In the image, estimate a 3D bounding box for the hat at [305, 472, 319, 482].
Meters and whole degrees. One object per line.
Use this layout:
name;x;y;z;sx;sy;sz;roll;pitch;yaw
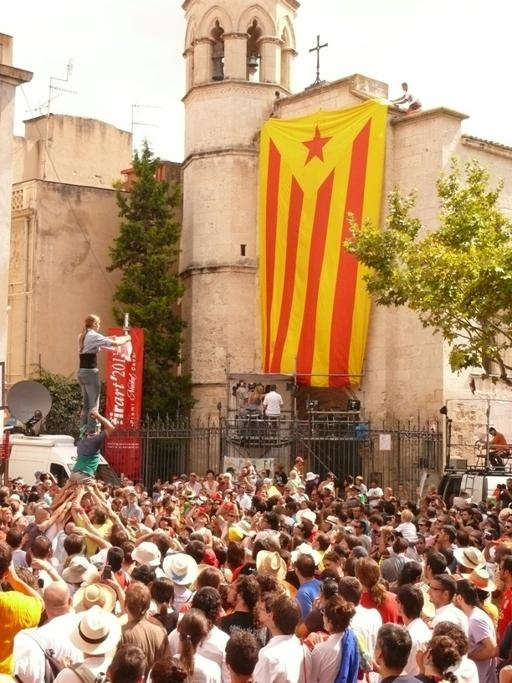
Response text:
hat;1.211;3.011;19.972;0.329;0.135;0.418;-16;-10;1

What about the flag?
flag;1.863;-2.863;27.095;4.233;8.367;0.704;-2;-7;44

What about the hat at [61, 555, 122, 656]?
hat;-1.017;1.634;5.570;0.334;0.166;0.459;3;35;-5

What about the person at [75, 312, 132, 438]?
person;-1.669;0.415;10.182;0.683;1.338;0.624;-3;2;-36

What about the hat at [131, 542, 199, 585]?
hat;-0.725;1.738;6.964;0.419;0.110;0.401;36;22;29
